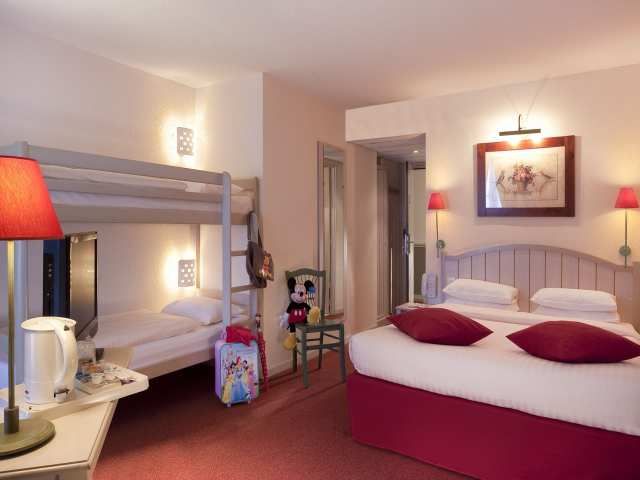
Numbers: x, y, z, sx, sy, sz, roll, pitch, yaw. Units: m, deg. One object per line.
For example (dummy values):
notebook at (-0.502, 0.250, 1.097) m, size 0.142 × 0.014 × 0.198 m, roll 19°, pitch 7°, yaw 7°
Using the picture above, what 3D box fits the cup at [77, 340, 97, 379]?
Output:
cup at (-1.179, 0.604, 2.395) m, size 0.085 × 0.211 × 0.112 m, roll -2°, pitch -9°, yaw 23°

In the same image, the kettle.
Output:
kettle at (-1.202, 0.565, 2.141) m, size 0.324 × 0.341 × 0.202 m, roll -4°, pitch -4°, yaw 37°

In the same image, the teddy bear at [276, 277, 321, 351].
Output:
teddy bear at (-0.187, 0.760, 4.974) m, size 0.369 × 0.709 × 0.563 m, roll 4°, pitch 8°, yaw 27°

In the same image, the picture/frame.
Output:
picture/frame at (2.130, -0.646, 4.777) m, size 0.823 × 0.730 × 0.061 m, roll -1°, pitch 0°, yaw 30°

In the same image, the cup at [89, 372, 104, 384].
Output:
cup at (-1.053, 0.654, 2.219) m, size 0.038 × 0.039 × 0.051 m, roll -1°, pitch -10°, yaw 7°

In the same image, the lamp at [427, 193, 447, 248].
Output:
lamp at (1.293, -0.208, 5.230) m, size 0.201 × 0.656 × 0.168 m, roll 4°, pitch 9°, yaw 31°
